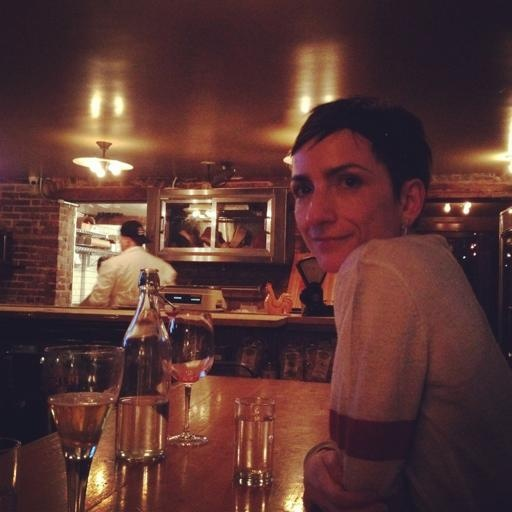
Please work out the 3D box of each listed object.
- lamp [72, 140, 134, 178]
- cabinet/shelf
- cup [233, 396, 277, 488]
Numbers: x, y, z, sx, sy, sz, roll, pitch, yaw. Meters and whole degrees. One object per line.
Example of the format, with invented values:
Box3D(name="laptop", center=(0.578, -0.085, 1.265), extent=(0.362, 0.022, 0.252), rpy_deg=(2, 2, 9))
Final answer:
Box3D(name="lamp", center=(-1.232, -0.797, 4.731), extent=(0.422, 0.240, 0.426), rpy_deg=(1, 3, -42))
Box3D(name="cabinet/shelf", center=(-0.353, -0.220, 5.103), extent=(1.056, 0.637, 0.352), rpy_deg=(1, -11, -4))
Box3D(name="cup", center=(-0.003, 0.284, 0.894), extent=(0.086, 0.114, 0.088), rpy_deg=(1, -9, 0))
